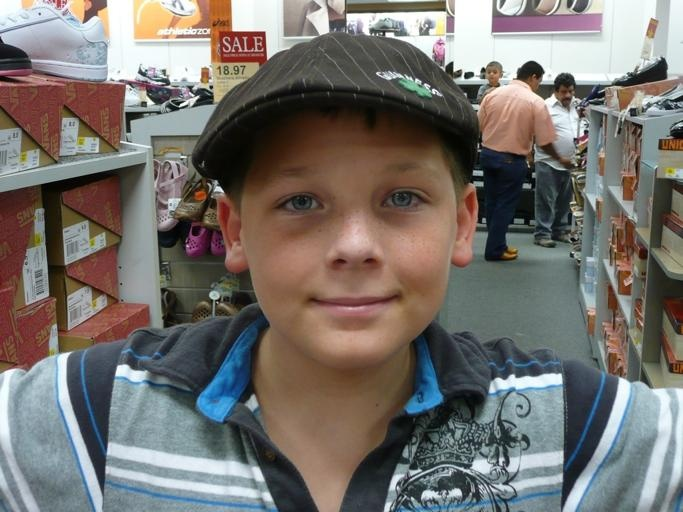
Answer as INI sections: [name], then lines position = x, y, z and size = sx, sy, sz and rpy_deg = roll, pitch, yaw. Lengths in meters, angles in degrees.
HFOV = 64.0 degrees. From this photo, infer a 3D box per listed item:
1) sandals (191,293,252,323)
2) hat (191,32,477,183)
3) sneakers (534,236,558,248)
[sandals]
position = -0.626, 0.260, 2.934
size = 0.240, 0.124, 0.371
rpy_deg = -2, 2, 12
[hat]
position = 0.000, -0.228, 0.867
size = 0.482, 0.255, 0.253
rpy_deg = 1, 9, -9
[sneakers]
position = 2.564, -0.179, 6.869
size = 0.100, 0.121, 0.263
rpy_deg = -1, 8, -18
